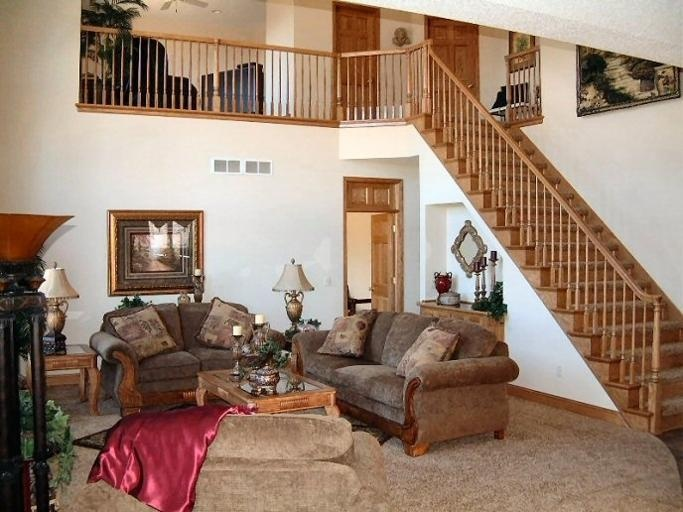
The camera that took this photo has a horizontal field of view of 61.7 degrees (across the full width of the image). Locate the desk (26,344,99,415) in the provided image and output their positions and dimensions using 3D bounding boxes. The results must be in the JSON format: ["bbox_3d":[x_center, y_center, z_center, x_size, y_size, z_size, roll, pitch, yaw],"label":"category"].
[{"bbox_3d":[-3.162,1.413,6.493,0.880,0.625,0.901,3,-2,32],"label":"desk"}]

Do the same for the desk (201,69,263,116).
[{"bbox_3d":[-1.926,-3.002,9.952,1.155,1.097,0.665,0,-5,-3],"label":"desk"}]

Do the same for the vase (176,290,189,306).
[{"bbox_3d":[-2.221,0.592,8.011,0.159,0.230,0.126,4,-13,-23],"label":"vase"}]

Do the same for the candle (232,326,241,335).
[{"bbox_3d":[-0.960,0.691,5.277,0.069,0.095,0.117,-1,5,-2],"label":"candle"}]

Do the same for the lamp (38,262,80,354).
[{"bbox_3d":[-3.362,0.610,6.717,0.494,0.970,0.494,-1,-1,-31],"label":"lamp"}]

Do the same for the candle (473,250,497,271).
[{"bbox_3d":[2.090,0.099,8.147,0.144,0.220,0.451,-2,-4,44],"label":"candle"}]

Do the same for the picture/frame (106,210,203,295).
[{"bbox_3d":[-2.733,-0.044,8.184,1.135,1.141,0.086,0,0,-24],"label":"picture/frame"}]

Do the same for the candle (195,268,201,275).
[{"bbox_3d":[-2.064,0.236,8.231,0.076,0.092,0.077,-2,-1,33],"label":"candle"}]

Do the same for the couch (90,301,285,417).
[{"bbox_3d":[-1.850,1.205,7.007,2.059,1.199,1.111,0,1,-34],"label":"couch"}]

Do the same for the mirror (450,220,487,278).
[{"bbox_3d":[1.916,-0.127,8.529,0.057,0.976,0.762,-7,9,-39],"label":"mirror"}]
